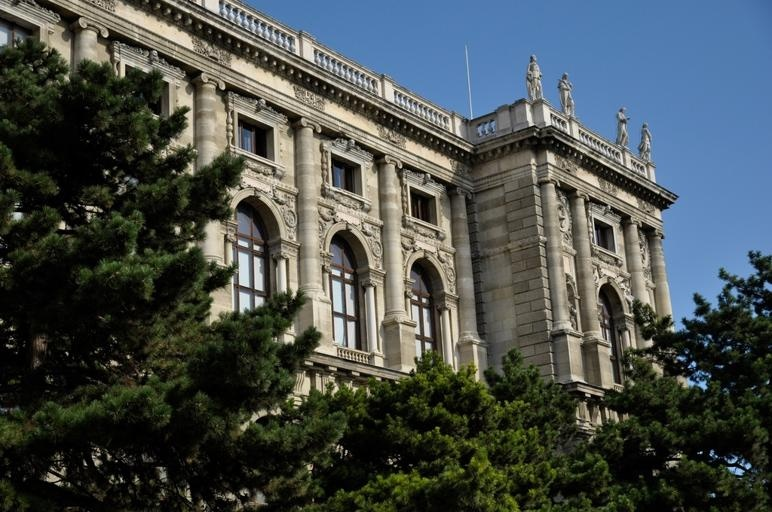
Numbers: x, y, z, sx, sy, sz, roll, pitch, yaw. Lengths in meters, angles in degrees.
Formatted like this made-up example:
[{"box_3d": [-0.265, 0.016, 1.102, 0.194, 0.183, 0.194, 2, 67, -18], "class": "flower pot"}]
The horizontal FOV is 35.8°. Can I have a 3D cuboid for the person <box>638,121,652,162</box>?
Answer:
[{"box_3d": [13.003, -5.625, 60.118, 0.555, 2.663, 0.629, -2, -32, 9], "class": "person"}]
